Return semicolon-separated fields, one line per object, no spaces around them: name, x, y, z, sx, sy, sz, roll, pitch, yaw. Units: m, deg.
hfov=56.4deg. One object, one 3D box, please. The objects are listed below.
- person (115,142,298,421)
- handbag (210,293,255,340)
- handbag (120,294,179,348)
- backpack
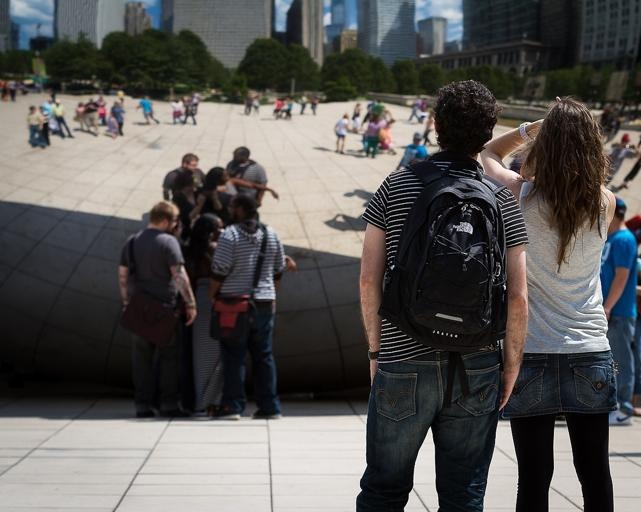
person;-0.783;0.235;4.736;1.164;1.464;0.385;3;2;-4
handbag;-0.672;0.458;4.599;0.353;0.323;0.156;2;-9;11
handbag;-1.313;0.428;4.828;0.427;0.389;0.413;25;2;-15
backpack;0.508;-0.004;2.397;0.533;0.701;0.410;10;9;-6
